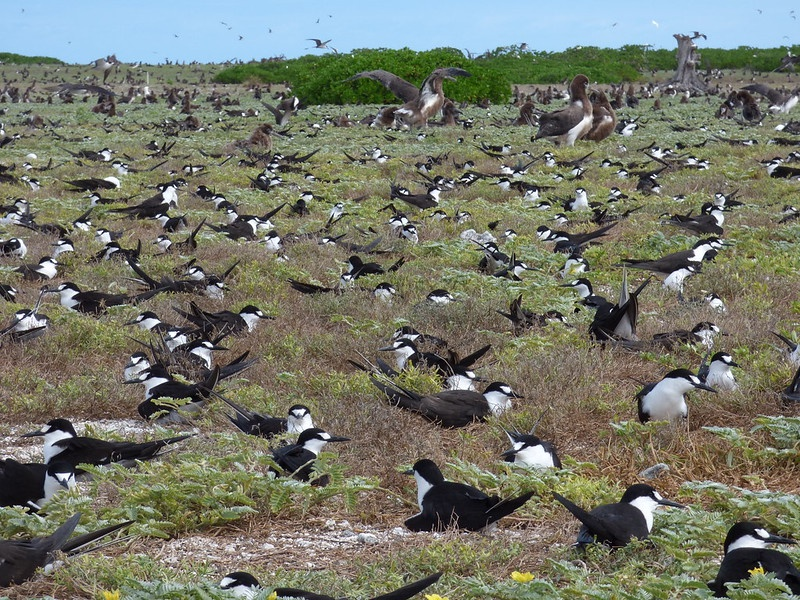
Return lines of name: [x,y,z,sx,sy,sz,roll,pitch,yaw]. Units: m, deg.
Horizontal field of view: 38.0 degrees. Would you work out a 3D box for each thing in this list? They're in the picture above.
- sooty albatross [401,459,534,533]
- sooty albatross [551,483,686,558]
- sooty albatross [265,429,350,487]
sooty albatross: [0.629,2.126,12.409,1.331,0.732,0.463,5,10,12]
sooty albatross: [2.201,2.264,12.153,1.340,0.586,0.499,4,6,-13]
sooty albatross: [-1.113,1.724,12.936,1.039,0.537,0.553,2,-5,-7]
